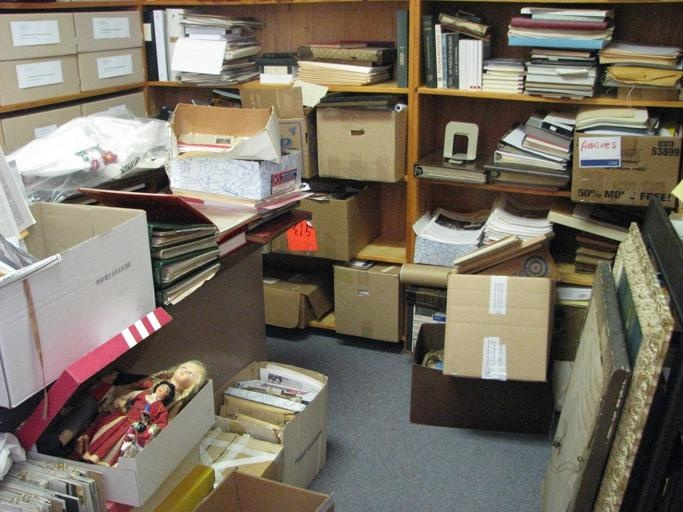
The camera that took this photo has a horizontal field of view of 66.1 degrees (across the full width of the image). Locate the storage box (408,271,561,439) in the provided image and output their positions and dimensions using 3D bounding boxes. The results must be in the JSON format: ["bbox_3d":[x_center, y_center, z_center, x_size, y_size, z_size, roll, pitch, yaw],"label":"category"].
[{"bbox_3d":[0.677,0.405,2.654,0.737,0.708,0.710,2,5,12],"label":"storage box"}]
